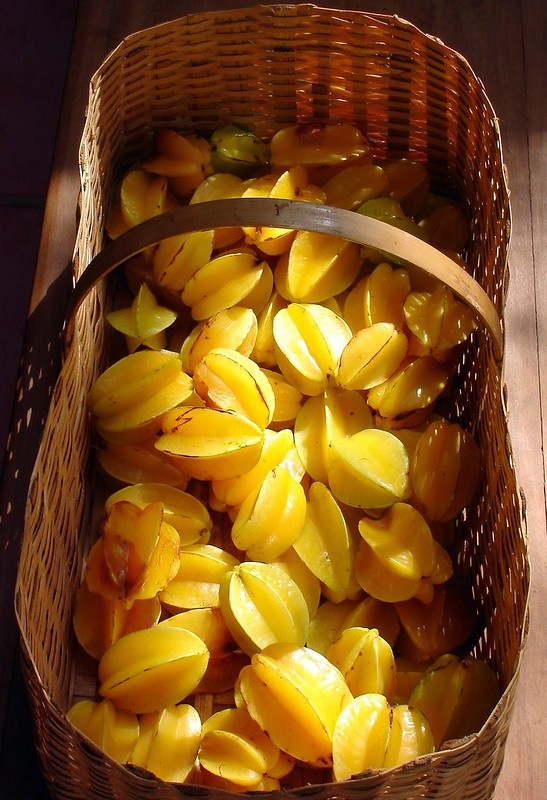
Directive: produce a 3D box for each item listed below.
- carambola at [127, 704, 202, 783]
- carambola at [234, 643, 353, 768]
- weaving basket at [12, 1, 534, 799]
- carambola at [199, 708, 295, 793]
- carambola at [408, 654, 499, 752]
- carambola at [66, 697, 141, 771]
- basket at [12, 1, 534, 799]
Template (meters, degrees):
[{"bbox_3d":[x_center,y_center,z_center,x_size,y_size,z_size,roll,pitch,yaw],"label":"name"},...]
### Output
[{"bbox_3d":[-0.087,0.285,0.634,0.055,0.035,0.062,5,36,3],"label":"carambola"},{"bbox_3d":[0.014,0.242,0.620,0.095,0.066,0.079,8,36,8],"label":"carambola"},{"bbox_3d":[0.023,-0.031,0.870,0.446,0.315,0.845,-1,58,3],"label":"weaving basket"},{"bbox_3d":[-0.021,0.282,0.612,0.072,0.030,0.059,31,44,34],"label":"carambola"},{"bbox_3d":[0.146,0.241,0.629,0.052,0.027,0.077,0,57,28],"label":"carambola"},{"bbox_3d":[-0.151,0.282,0.629,0.055,0.026,0.066,-14,60,25],"label":"carambola"},{"bbox_3d":[0.008,-0.025,0.883,0.446,0.315,0.845,-1,58,3],"label":"basket"}]
